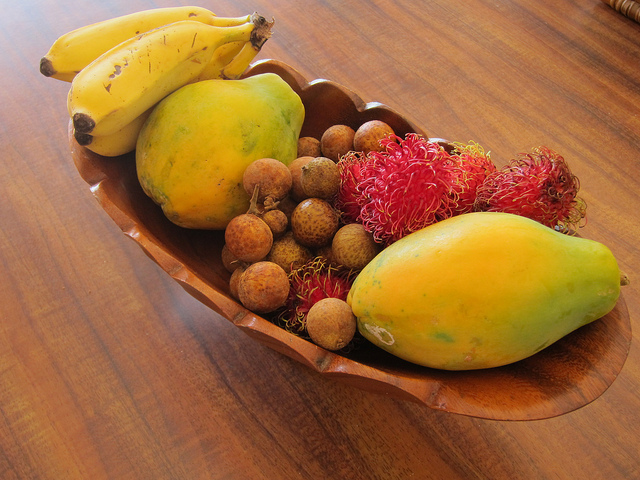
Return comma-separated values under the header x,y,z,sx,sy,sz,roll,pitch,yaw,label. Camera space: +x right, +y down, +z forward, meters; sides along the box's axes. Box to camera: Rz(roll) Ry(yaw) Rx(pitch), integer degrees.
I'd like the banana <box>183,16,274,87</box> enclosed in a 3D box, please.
x,y,z,sx,sy,sz,roll,pitch,yaw,label
-0.151,-0.300,0.967,0.158,0.060,0.049,-36,96,-9,banana

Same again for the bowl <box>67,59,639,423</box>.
x,y,z,sx,sy,sz,roll,pitch,yaw,label
-0.040,0.110,1.002,0.909,0.219,0.439,39,55,17,bowl
